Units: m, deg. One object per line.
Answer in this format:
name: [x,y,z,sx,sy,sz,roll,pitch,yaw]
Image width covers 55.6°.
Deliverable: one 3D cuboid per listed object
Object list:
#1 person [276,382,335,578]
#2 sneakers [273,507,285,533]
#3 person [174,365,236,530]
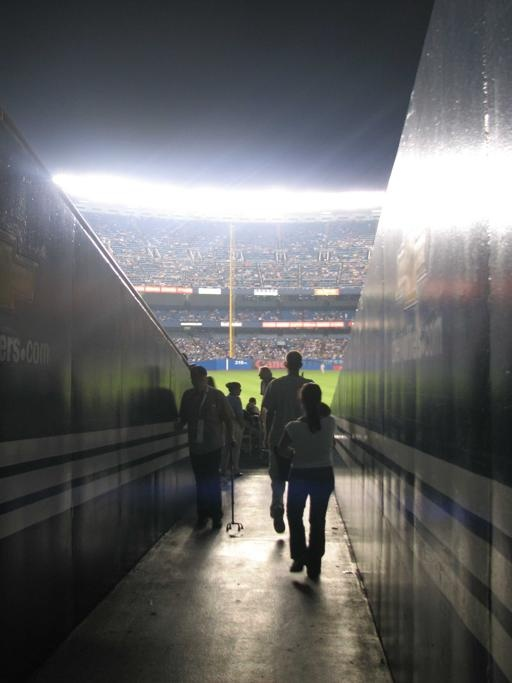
person: [0.423,1.132,4.056,0.445,1.545,0.377,0,-7,9]
sneakers: [0.240,1.879,5.101,0.091,0.317,0.122,-1,-3,-4]
person: [-0.616,1.208,5.781,0.659,1.836,0.783,1,-7,-3]
